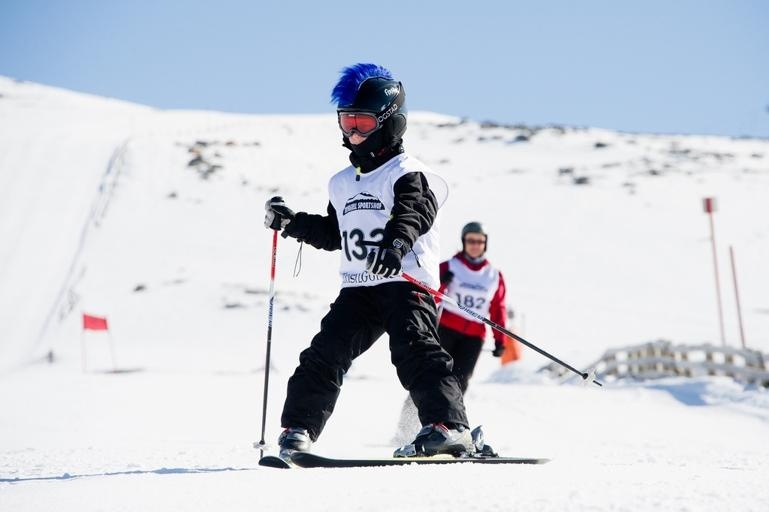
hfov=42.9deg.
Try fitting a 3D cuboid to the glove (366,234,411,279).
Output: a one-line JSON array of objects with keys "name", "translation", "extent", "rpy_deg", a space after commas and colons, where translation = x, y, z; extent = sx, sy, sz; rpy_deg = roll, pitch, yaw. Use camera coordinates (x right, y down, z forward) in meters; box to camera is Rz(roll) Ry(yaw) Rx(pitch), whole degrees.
[{"name": "glove", "translation": [0.051, 0.041, 13.955], "extent": [0.599, 0.585, 0.221], "rpy_deg": [0, 7, 1]}]
